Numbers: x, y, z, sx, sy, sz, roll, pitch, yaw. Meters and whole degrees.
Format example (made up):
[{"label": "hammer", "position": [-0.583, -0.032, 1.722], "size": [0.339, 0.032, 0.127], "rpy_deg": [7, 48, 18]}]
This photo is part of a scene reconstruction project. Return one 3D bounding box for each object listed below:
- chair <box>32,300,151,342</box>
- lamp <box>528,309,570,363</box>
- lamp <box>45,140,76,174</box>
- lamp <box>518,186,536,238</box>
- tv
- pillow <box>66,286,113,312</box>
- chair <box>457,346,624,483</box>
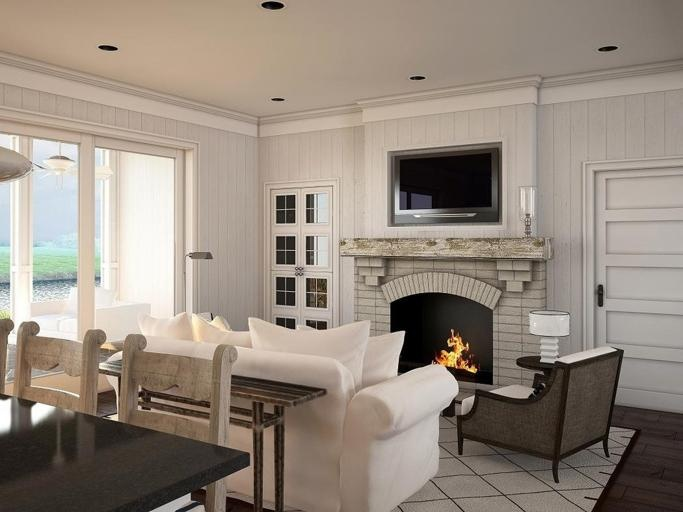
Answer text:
[{"label": "chair", "position": [-2.464, 0.615, 4.719], "size": [0.631, 0.319, 0.424], "rpy_deg": [-3, -5, 21]}, {"label": "lamp", "position": [1.807, 0.698, 4.276], "size": [0.344, 0.397, 0.344], "rpy_deg": [3, -2, -44]}, {"label": "lamp", "position": [-2.904, -1.000, 5.044], "size": [0.281, 0.287, 0.285], "rpy_deg": [-4, 1, -41]}, {"label": "lamp", "position": [1.922, -0.452, 5.057], "size": [0.144, 0.515, 0.275], "rpy_deg": [7, 7, 39]}, {"label": "tv", "position": [1.261, -0.808, 5.680], "size": [0.982, 0.671, 0.078], "rpy_deg": [1, 0, 28]}, {"label": "pillow", "position": [-2.746, 0.448, 5.415], "size": [0.200, 0.280, 0.587], "rpy_deg": [4, 5, 17]}, {"label": "chair", "position": [1.523, 1.026, 3.847], "size": [1.013, 0.946, 0.906], "rpy_deg": [-1, -2, 44]}]
